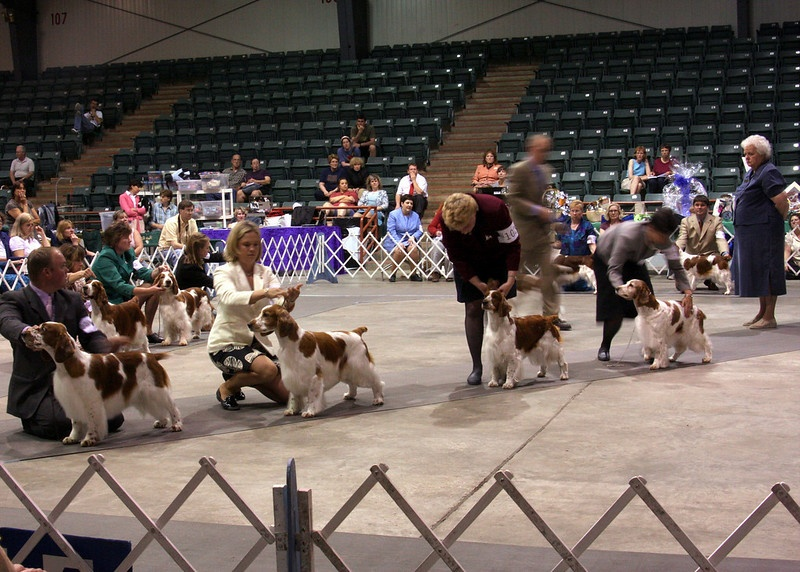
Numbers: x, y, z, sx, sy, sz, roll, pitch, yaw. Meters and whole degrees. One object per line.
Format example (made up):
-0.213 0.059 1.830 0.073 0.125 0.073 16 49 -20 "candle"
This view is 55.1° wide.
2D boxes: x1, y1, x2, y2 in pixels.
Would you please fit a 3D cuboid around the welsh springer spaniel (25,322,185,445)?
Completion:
-1.955 0.647 5.089 0.324 0.762 1.064 -1 -3 37 "welsh springer spaniel"

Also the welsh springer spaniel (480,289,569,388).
0.988 0.429 6.310 0.840 0.784 0.363 -4 4 -31 "welsh springer spaniel"

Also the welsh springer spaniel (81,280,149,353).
-2.739 0.327 7.355 0.330 0.765 0.992 -2 0 13 "welsh springer spaniel"

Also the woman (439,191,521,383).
0.616 0.035 6.163 0.492 1.570 0.834 5 10 44 "woman"

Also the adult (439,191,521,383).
0.616 0.035 6.163 0.492 1.570 0.834 5 10 44 "adult"

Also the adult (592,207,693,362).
2.121 0.033 6.810 0.767 1.472 0.912 -18 21 -39 "adult"

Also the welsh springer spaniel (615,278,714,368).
2.335 0.343 6.766 0.850 0.733 0.390 0 0 -17 "welsh springer spaniel"

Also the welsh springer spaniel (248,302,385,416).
-0.610 0.536 5.648 1.033 0.828 0.424 -3 4 -42 "welsh springer spaniel"

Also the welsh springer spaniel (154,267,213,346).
-2.433 0.222 8.575 0.341 0.845 1.159 0 4 13 "welsh springer spaniel"

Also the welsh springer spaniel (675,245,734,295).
4.498 -0.306 11.269 1.124 0.822 0.342 -1 14 43 "welsh springer spaniel"

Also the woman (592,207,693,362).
2.104 0.019 6.831 0.759 1.471 0.909 -18 21 -38 "woman"
